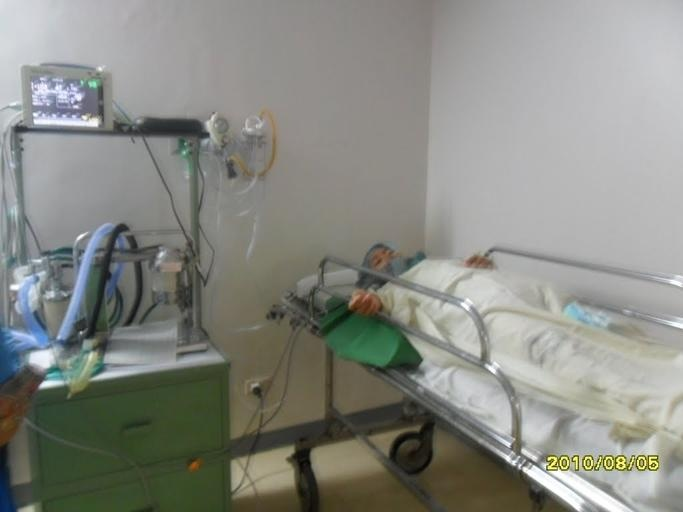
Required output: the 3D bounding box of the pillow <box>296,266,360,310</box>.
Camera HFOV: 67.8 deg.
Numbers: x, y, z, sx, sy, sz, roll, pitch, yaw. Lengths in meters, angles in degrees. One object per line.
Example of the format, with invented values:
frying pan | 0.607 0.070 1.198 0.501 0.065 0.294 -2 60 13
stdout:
pillow | -0.054 0.145 2.612 0.210 0.061 0.219 -19 27 -31
